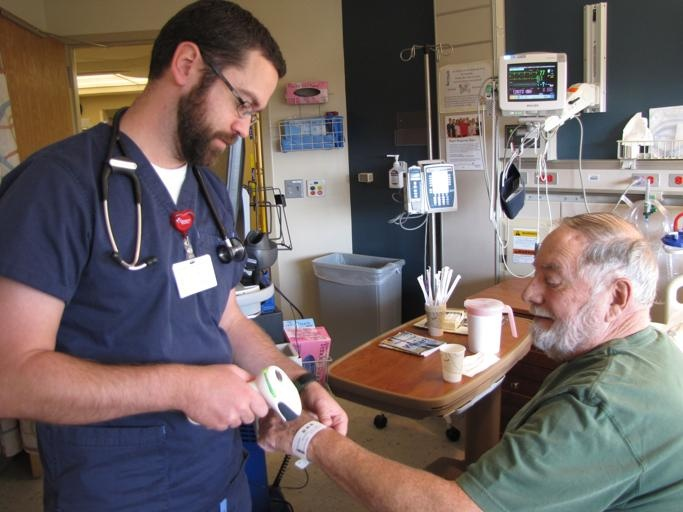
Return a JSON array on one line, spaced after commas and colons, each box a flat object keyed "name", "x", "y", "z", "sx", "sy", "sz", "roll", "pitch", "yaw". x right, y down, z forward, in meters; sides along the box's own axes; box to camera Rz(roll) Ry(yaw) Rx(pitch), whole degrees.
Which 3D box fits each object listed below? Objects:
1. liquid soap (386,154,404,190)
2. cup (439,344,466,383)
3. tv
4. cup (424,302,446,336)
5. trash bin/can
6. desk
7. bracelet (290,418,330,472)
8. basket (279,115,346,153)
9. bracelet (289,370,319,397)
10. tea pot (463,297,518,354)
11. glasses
[{"name": "liquid soap", "x": 0.391, "y": -0.610, "z": 3.932, "sx": 0.132, "sy": 0.271, "sz": 0.523, "roll": -4, "pitch": 9, "yaw": 5}, {"name": "cup", "x": 0.407, "y": 0.395, "z": 2.094, "sx": 0.120, "sy": 0.144, "sz": 0.126, "roll": -6, "pitch": 12, "yaw": 1}, {"name": "tv", "x": 1.011, "y": -0.891, "z": 2.968, "sx": 0.339, "sy": 0.328, "sz": 0.191, "roll": 1, "pitch": -4, "yaw": 8}, {"name": "cup", "x": 0.424, "y": 0.290, "z": 2.505, "sx": 0.102, "sy": 0.136, "sz": 0.104, "roll": 1, "pitch": 3, "yaw": 0}, {"name": "trash bin/can", "x": 0.120, "y": 0.347, "z": 3.686, "sx": 0.692, "sy": 0.760, "sz": 0.450, "roll": 8, "pitch": 13, "yaw": 39}, {"name": "desk", "x": 0.412, "y": 0.543, "z": 2.441, "sx": 0.478, "sy": 0.505, "sz": 1.000, "roll": 13, "pitch": 22, "yaw": 40}, {"name": "bracelet", "x": -0.083, "y": 0.526, "z": 1.505, "sx": 0.041, "sy": 0.125, "sz": 0.088, "roll": 38, "pitch": -5, "yaw": -40}, {"name": "basket", "x": -0.219, "y": -0.936, "z": 4.265, "sx": 0.444, "sy": 0.289, "sz": 0.225, "roll": 0, "pitch": -4, "yaw": 1}, {"name": "bracelet", "x": -0.115, "y": 0.375, "z": 1.664, "sx": 0.048, "sy": 0.069, "sz": 0.075, "roll": 23, "pitch": 14, "yaw": 25}, {"name": "tea pot", "x": 0.634, "y": 0.305, "z": 2.285, "sx": 0.201, "sy": 0.193, "sz": 0.133, "roll": 2, "pitch": 0, "yaw": -3}, {"name": "glasses", "x": -0.304, "y": -0.442, "z": 1.455, "sx": 0.040, "sy": 0.140, "sz": 0.130, "roll": -28, "pitch": -21, "yaw": 7}]
